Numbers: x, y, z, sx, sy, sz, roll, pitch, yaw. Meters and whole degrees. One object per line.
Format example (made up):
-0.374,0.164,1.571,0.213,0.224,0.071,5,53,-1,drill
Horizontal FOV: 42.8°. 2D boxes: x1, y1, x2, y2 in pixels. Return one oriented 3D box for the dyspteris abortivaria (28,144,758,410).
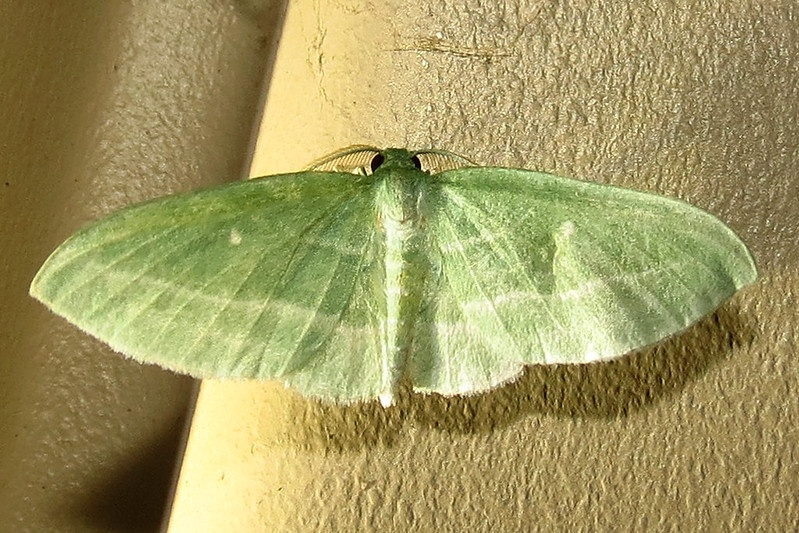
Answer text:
-0.011,0.019,2.227,1.456,0.161,0.593,0,88,3,dyspteris abortivaria
